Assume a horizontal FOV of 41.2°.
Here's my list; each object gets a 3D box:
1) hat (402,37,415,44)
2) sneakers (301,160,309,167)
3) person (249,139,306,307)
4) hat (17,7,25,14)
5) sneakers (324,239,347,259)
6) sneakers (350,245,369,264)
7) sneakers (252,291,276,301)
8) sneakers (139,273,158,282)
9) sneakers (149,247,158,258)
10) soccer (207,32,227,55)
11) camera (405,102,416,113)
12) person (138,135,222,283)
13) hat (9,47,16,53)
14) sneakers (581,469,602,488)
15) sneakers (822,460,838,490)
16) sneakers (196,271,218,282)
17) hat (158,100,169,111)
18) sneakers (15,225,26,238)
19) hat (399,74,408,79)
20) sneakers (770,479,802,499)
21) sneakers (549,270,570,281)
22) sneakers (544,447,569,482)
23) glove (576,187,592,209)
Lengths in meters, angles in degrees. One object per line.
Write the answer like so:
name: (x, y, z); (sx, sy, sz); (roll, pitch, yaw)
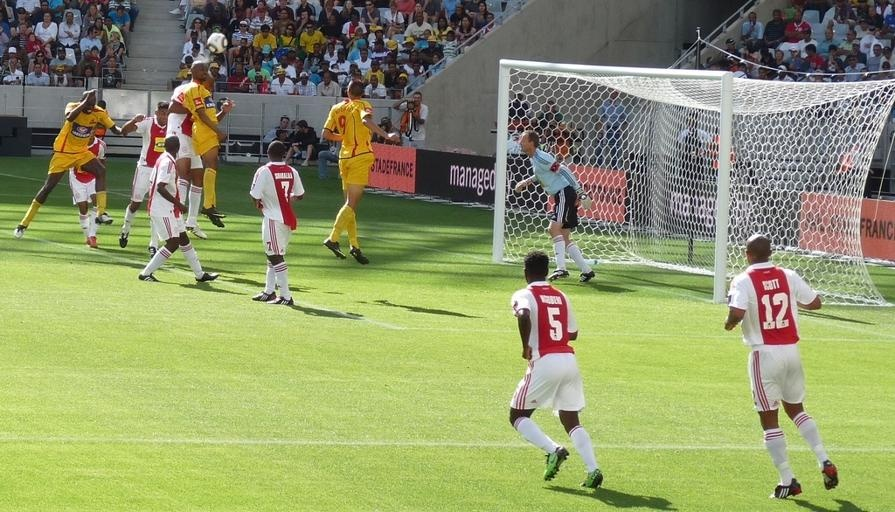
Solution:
hat: (-1.172, -6.517, 35.936); (0.321, 0.110, 0.333); (2, 9, 9)
sneakers: (-4.156, -2.739, 34.796); (0.239, 0.166, 0.112); (15, -1, -21)
person: (-2.656, -0.514, 18.276); (0.742, 2.504, 0.808); (4, 4, -6)
hat: (-13.351, -7.677, 37.186); (0.236, 0.154, 0.218); (3, 2, -22)
sneakers: (-2.021, -0.128, 21.196); (0.155, 0.347, 0.120); (-38, -18, -2)
sneakers: (-1.574, -0.031, 21.097); (0.354, 0.116, 0.161); (40, -33, -28)
sneakers: (-2.851, 0.614, 18.573); (0.395, 0.147, 0.137); (2, 6, 19)
sneakers: (-4.906, 0.333, 19.444); (0.363, 0.134, 0.111); (3, 12, -13)
sneakers: (-5.189, -0.080, 21.012); (0.168, 0.189, 0.456); (-2, -11, -17)
soccer: (-4.337, -4.020, 22.398); (0.294, 0.366, 0.775); (4, 4, -7)
camera: (-1.015, -4.104, 32.717); (0.266, 0.281, 0.478); (4, 4, -3)
person: (-4.393, -0.746, 19.179); (1.079, 2.379, 0.746); (4, 4, -9)
hat: (-13.159, -6.249, 35.972); (0.218, 0.190, 0.406); (2, 5, -29)
sneakers: (1.652, 2.552, 13.576); (0.126, 0.144, 0.319); (-11, -26, -47)
sneakers: (4.337, 2.470, 13.551); (0.189, 0.348, 0.177); (-7, -4, 6)
sneakers: (-3.939, 0.329, 19.493); (0.332, 0.123, 0.160); (-11, 15, -6)
hat: (-5.123, -2.749, 21.643); (0.230, 0.230, 0.269); (-1, 5, -23)
sneakers: (-7.879, -0.486, 21.979); (0.207, 0.151, 0.374); (22, 9, -26)
hat: (-1.289, -5.322, 35.070); (0.215, 0.149, 0.225); (4, 4, -4)
sneakers: (3.872, 2.642, 13.620); (0.424, 0.182, 0.154); (-14, 9, 12)
sneakers: (1.900, 0.312, 20.354); (0.430, 0.181, 0.151); (0, 5, 17)
sneakers: (1.225, 2.350, 13.619); (0.293, 0.498, 0.173); (12, 35, -5)
glove: (2.355, -0.976, 19.938); (0.212, 0.253, 0.314); (-33, 47, -13)
